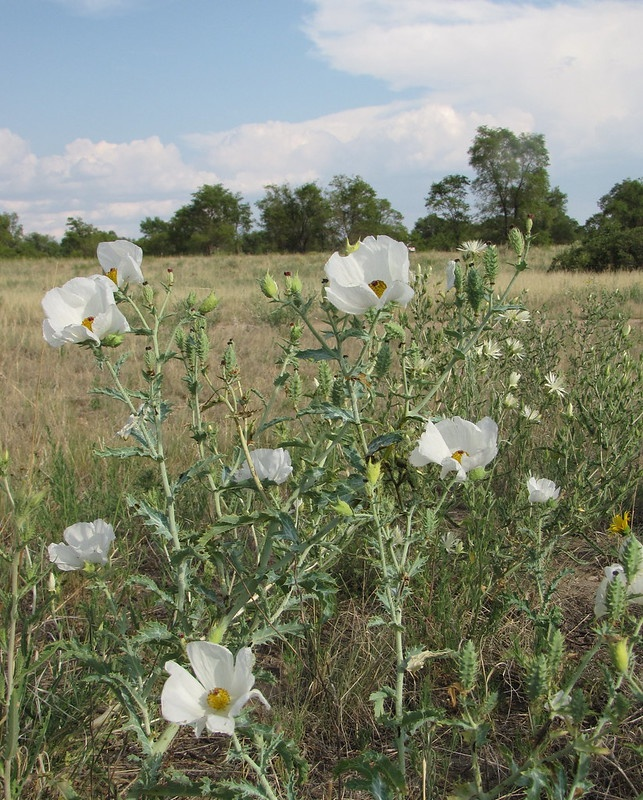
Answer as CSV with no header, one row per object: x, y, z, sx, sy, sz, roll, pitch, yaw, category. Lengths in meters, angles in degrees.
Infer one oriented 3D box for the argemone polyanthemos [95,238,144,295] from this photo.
-0.559,-0.382,2.112,0.149,0.136,0.092,-11,18,34,argemone polyanthemos

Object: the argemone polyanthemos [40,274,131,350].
-0.593,-0.224,1.853,0.205,0.172,0.195,-6,10,-20,argemone polyanthemos

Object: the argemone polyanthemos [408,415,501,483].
0.326,0.107,1.706,0.159,0.169,0.099,-7,-30,28,argemone polyanthemos

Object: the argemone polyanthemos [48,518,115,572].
-0.676,0.409,2.072,0.162,0.144,0.183,-7,10,-23,argemone polyanthemos

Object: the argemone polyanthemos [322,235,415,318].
0.110,-0.294,1.762,0.195,0.188,0.263,-3,9,1,argemone polyanthemos

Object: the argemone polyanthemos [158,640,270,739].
-0.214,0.575,1.412,0.197,0.208,0.090,-16,-30,17,argemone polyanthemos
